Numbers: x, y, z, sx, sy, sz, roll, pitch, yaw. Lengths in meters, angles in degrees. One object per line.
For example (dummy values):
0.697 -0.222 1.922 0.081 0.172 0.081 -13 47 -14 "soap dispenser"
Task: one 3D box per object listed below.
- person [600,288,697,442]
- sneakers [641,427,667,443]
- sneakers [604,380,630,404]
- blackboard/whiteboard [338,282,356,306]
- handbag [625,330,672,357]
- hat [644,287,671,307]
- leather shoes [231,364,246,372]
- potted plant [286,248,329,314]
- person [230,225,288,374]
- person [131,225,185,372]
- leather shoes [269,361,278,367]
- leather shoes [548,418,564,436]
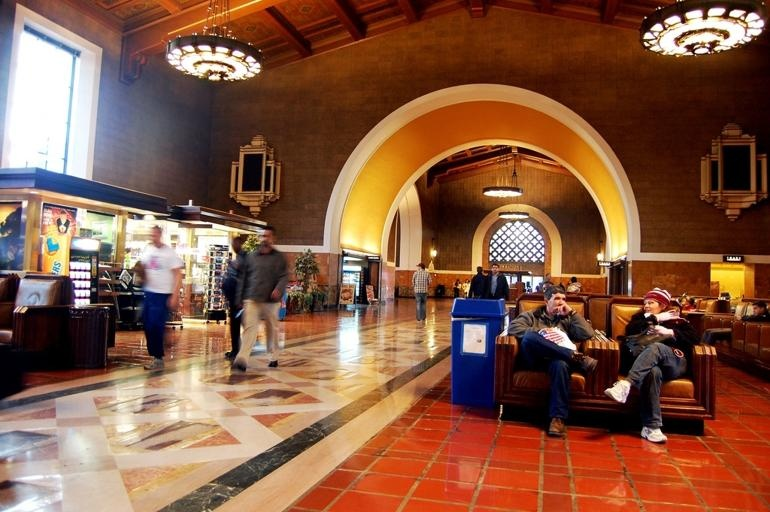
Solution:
2.762 1.085 5.201 0.641 1.668 1.070 3 1 42 "person"
2.618 1.744 4.904 0.110 0.098 0.219 1 -8 -11 "sneakers"
2.364 1.377 5.114 0.138 0.155 0.347 31 -4 24 "sneakers"
-1.309 1.320 17.469 0.807 1.059 0.619 2 -9 -6 "blackboard/whiteboard"
2.695 0.895 5.251 0.279 0.100 0.286 1 10 40 "handbag"
3.081 0.454 5.574 0.337 0.226 0.279 5 -5 14 "hat"
-1.982 1.524 6.871 0.164 0.115 0.163 0 3 -26 "leather shoes"
-2.413 0.745 15.624 0.846 1.614 1.786 2 1 12 "potted plant"
-1.728 0.601 7.052 0.724 1.556 0.562 1 1 -39 "person"
-3.088 0.561 6.969 0.640 1.370 0.429 2 1 22 "person"
-1.623 1.579 7.353 0.060 0.072 0.172 3 -1 -39 "leather shoes"
1.705 1.700 4.996 0.177 0.172 0.151 2 1 9 "leather shoes"
